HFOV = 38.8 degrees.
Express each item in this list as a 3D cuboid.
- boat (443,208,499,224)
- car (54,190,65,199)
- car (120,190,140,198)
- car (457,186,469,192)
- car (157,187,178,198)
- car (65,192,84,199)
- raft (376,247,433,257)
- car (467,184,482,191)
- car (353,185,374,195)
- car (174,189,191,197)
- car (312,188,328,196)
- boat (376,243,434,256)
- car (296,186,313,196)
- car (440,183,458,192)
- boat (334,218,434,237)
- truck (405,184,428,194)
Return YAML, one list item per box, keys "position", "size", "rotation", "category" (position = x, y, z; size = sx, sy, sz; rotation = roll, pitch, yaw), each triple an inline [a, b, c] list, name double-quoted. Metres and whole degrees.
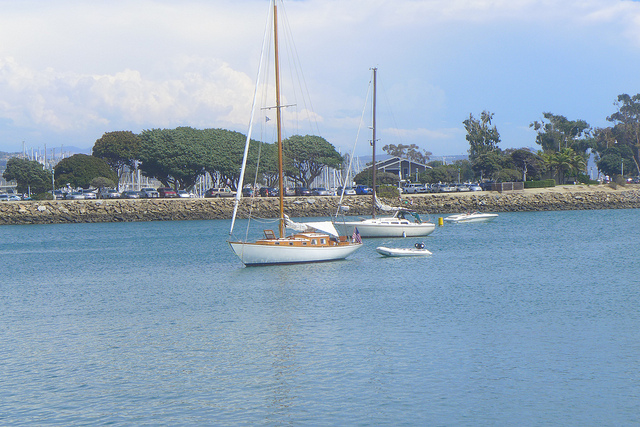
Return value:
- position: [21.967, 0.678, 131.320]
  size: [6.629, 1.442, 7.124]
  rotation: [0, 2, 11]
  category: "boat"
- position: [-47.555, -3.373, 165.366]
  size: [2.455, 1.306, 3.228]
  rotation: [1, 0, -5]
  category: "car"
- position: [-32.081, -3.304, 152.907]
  size: [1.594, 1.086, 3.420]
  rotation: [-1, -3, -33]
  category: "car"
- position: [25.970, -4.390, 162.919]
  size: [1.994, 0.870, 3.136]
  rotation: [0, 2, 12]
  category: "car"
- position: [-25.794, -3.478, 154.028]
  size: [1.755, 1.392, 3.087]
  rotation: [-2, -3, -39]
  category: "car"
- position: [-40.795, -2.939, 151.233]
  size: [2.208, 0.702, 1.688]
  rotation: [3, 0, 6]
  category: "car"
- position: [8.457, 3.880, 90.034]
  size: [5.527, 0.898, 1.717]
  rotation: [3, -3, -1]
  category: "raft"
- position: [27.866, -4.623, 164.593]
  size: [1.155, 0.770, 2.412]
  rotation: [-2, 1, -31]
  category: "car"
- position: [7.598, -4.011, 156.849]
  size: [1.930, 1.068, 3.147]
  rotation: [-1, -2, -22]
  category: "car"
- position: [-23.011, -3.230, 153.248]
  size: [2.588, 0.948, 1.968]
  rotation: [1, 3, 38]
  category: "car"
- position: [0.127, -3.839, 161.831]
  size: [1.336, 0.883, 2.185]
  rotation: [-3, 7, -42]
  category: "car"
- position: [8.548, 3.637, 90.319]
  size: [5.946, 1.599, 1.721]
  rotation: [2, -3, -4]
  category: "boat"
- position: [-3.014, -3.834, 161.872]
  size: [1.451, 1.142, 2.454]
  rotation: [-1, -2, -34]
  category: "car"
- position: [23.393, -4.369, 164.002]
  size: [1.960, 0.696, 2.670]
  rotation: [-3, 7, -24]
  category: "car"
- position: [8.102, 0.938, 103.384]
  size: [11.054, 2.028, 3.369]
  rotation: [4, -5, -18]
  category: "boat"
- position: [17.119, -4.384, 165.025]
  size: [3.165, 1.311, 2.128]
  rotation: [-2, 0, 32]
  category: "truck"
